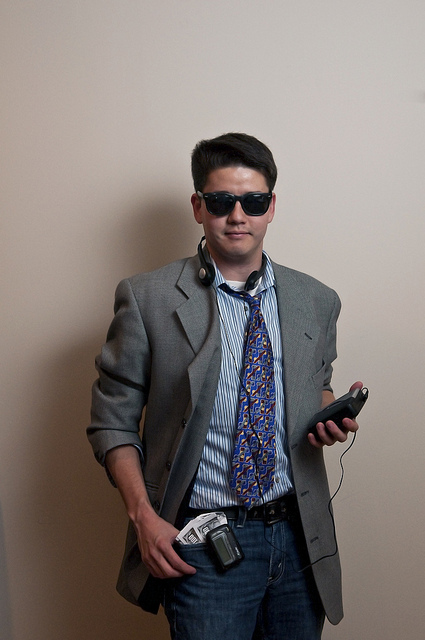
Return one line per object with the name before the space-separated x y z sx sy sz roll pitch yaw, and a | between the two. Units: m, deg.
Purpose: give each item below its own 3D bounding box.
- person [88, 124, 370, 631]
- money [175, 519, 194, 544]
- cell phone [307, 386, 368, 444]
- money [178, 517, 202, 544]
person | 0.051 0.187 1.574 0.747 1.337 0.621 3 18 -12
money | -0.071 0.526 1.428 0.014 0.049 0.051 47 -20 -12
cell phone | 0.316 0.243 1.478 0.125 0.155 0.113 10 17 10
money | -0.056 0.524 1.429 0.065 0.064 0.011 -10 8 -22
